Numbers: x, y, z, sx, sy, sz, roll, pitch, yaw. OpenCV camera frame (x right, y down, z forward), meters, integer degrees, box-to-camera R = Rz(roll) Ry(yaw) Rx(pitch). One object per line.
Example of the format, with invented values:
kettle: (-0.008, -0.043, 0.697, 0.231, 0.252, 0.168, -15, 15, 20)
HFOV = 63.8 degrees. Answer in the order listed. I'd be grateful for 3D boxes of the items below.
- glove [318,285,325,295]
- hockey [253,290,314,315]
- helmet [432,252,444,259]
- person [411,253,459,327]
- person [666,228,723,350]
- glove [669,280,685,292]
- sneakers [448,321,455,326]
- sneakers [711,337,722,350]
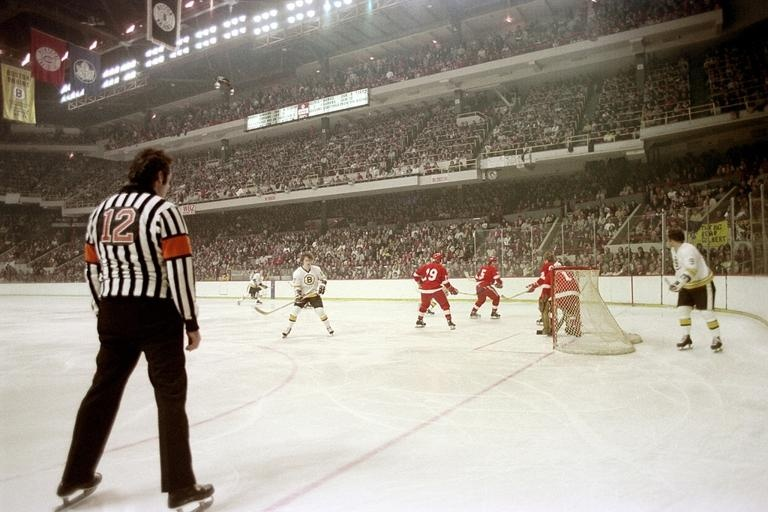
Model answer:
glove: (-1.916, 1.012, 18.873, 0.262, 0.297, 0.338, 2, -12, -6)
hockey: (-4.282, 1.968, 25.978, 3.167, 0.444, 0.442, -13, 28, -16)
helmet: (2.148, -0.055, 24.478, 0.431, 0.123, 0.420, -1, 4, -1)
person: (1.667, 1.084, 20.041, 1.228, 2.402, 0.901, 2, 8, 25)
person: (7.960, 0.829, 15.795, 1.021, 3.231, 1.256, -4, 0, 39)
glove: (7.421, 0.758, 15.586, 0.177, 0.230, 0.377, -33, 6, -17)
sneakers: (2.122, 2.137, 19.370, 0.214, 0.204, 0.121, 2, 9, -9)
sneakers: (8.387, 2.221, 15.497, 0.176, 0.211, 0.528, -6, -12, 32)
